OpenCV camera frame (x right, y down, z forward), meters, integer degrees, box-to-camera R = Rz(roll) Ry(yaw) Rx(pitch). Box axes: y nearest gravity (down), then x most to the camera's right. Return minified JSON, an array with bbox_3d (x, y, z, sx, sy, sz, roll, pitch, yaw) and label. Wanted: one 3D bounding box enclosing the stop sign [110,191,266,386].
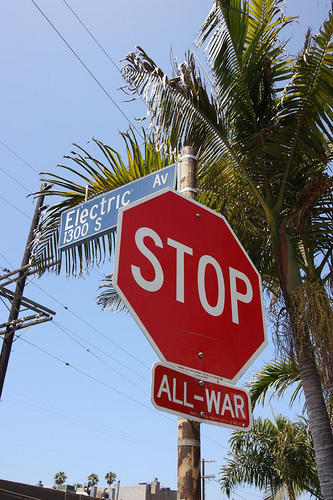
[{"bbox_3d":[0.135,0.150,3.079,0.921,1.030,0.178,24,-34,-33],"label":"stop sign"}]
